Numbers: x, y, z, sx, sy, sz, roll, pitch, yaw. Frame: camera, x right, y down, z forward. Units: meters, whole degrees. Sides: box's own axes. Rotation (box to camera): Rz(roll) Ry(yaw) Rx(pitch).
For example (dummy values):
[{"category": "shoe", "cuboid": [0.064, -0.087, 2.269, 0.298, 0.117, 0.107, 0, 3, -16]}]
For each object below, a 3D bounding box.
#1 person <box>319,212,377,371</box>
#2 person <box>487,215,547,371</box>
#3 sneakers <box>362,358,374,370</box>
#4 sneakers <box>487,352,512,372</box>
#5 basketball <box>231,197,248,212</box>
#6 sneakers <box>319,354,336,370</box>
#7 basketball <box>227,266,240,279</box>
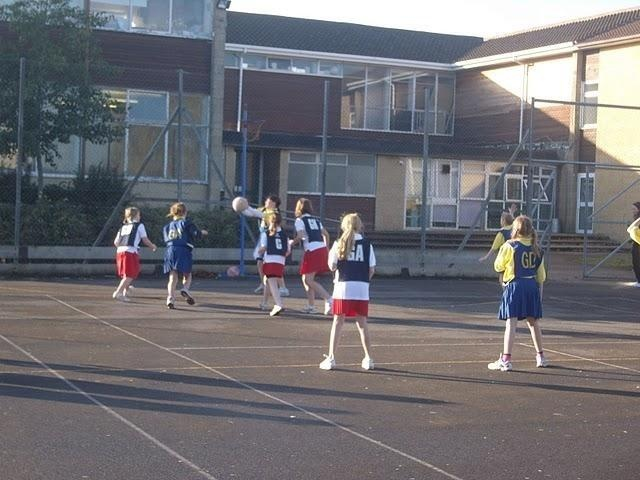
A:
[{"category": "person", "cuboid": [0.434, 0.705, 11.346, 0.759, 2.134, 0.572, 3, 4, -1]}, {"category": "person", "cuboid": [2.834, 0.752, 11.590, 0.838, 2.174, 0.528, 0, 5, -32]}, {"category": "sneakers", "cuboid": [0.668, 1.713, 11.283, 0.080, 0.182, 0.239, 1, 6, -12]}, {"category": "sneakers", "cuboid": [2.519, 1.724, 11.533, 0.157, 0.226, 0.413, 2, 0, -28]}, {"category": "basketball", "cuboid": [-1.691, -0.819, 17.349, 0.299, 0.336, 0.377, 11, -14, -3]}, {"category": "sneakers", "cuboid": [0.102, 1.688, 11.269, 0.126, 0.169, 0.252, 2, 2, -12]}, {"category": "basketball", "cuboid": [-2.135, 0.833, 20.318, 0.246, 0.274, 0.289, 13, -25, -22]}]
